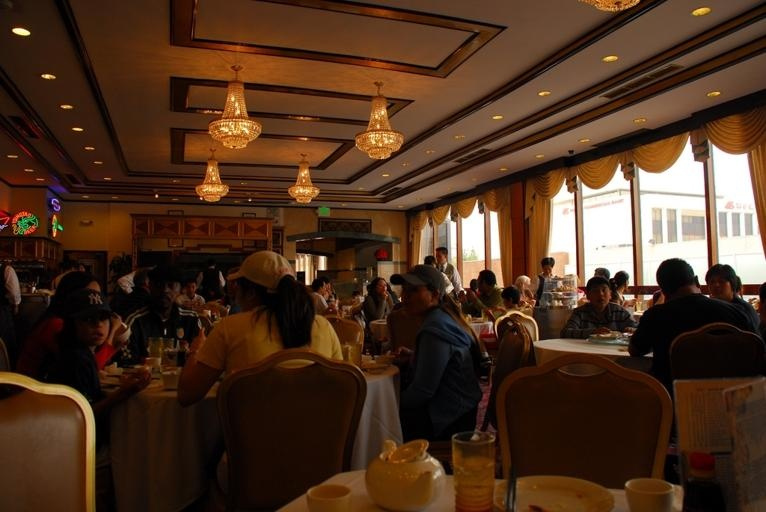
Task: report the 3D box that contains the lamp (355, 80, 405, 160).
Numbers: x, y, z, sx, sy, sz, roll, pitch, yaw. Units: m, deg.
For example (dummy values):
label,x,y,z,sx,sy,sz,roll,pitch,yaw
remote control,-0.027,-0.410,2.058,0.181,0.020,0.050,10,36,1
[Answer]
label,x,y,z,sx,sy,sz,roll,pitch,yaw
lamp,-0.046,-1.664,6.644,0.568,0.961,0.575,-6,-8,45

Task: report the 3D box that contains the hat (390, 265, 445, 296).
label,x,y,z,sx,sy,sz,roll,pitch,yaw
hat,0.233,0.169,3.425,0.258,0.126,0.174,22,-7,-20

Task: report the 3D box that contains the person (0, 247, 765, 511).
label,x,y,z,sx,sy,sz,roll,pitch,yaw
person,-0.602,0.581,2.969,2.050,1.203,0.874,3,-4,-20

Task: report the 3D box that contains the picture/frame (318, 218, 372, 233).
label,x,y,z,sx,sy,sz,roll,pitch,yaw
picture/frame,-0.989,-0.850,14.767,1.458,0.392,0.281,3,-4,-18

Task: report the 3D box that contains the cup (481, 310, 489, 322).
label,x,y,z,sx,sy,sz,roll,pitch,yaw
cup,1.352,0.796,7.339,0.098,0.122,0.181,-2,-2,5

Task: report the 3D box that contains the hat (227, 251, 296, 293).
label,x,y,z,sx,sy,sz,roll,pitch,yaw
hat,-0.618,0.073,2.866,0.267,0.140,0.198,9,0,4

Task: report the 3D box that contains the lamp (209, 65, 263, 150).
label,x,y,z,sx,sy,sz,roll,pitch,yaw
lamp,-1.666,-1.725,6.288,0.599,0.878,0.599,0,5,-33

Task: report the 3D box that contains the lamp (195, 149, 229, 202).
label,x,y,z,sx,sy,sz,roll,pitch,yaw
lamp,-2.764,-1.348,8.968,0.666,0.908,0.662,0,-12,-18

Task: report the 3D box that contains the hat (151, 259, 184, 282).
label,x,y,z,sx,sy,sz,roll,pitch,yaw
hat,-2.389,0.138,6.069,0.348,0.160,0.437,0,3,-2

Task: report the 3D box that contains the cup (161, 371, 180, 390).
label,x,y,z,sx,sy,sz,roll,pitch,yaw
cup,-1.163,0.683,3.027,0.092,0.077,0.104,1,-7,-2

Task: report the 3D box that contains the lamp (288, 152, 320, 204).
label,x,y,z,sx,sy,sz,roll,pitch,yaw
lamp,-1.308,-1.295,9.187,0.483,0.809,0.496,-6,-8,41
